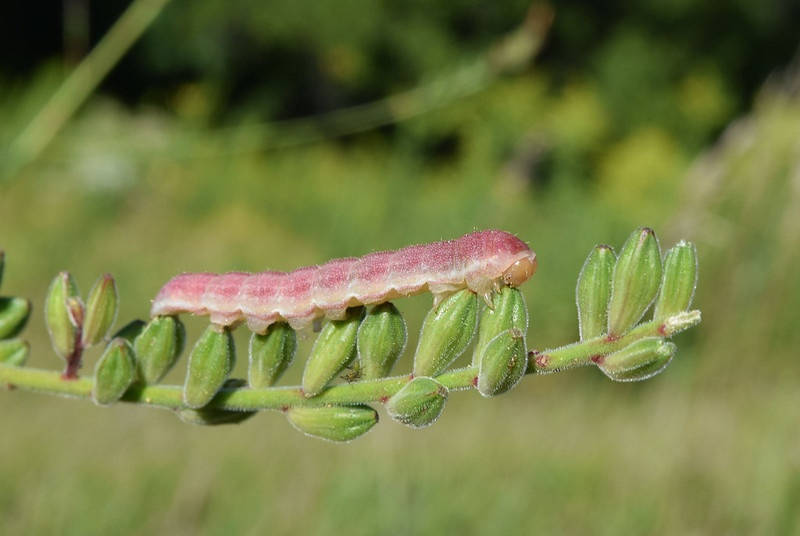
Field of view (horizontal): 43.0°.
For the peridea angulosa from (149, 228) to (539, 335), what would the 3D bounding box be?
[{"bbox_3d":[-0.135,0.023,1.987,0.438,0.129,0.123,-8,34,2],"label":"peridea angulosa"}]
